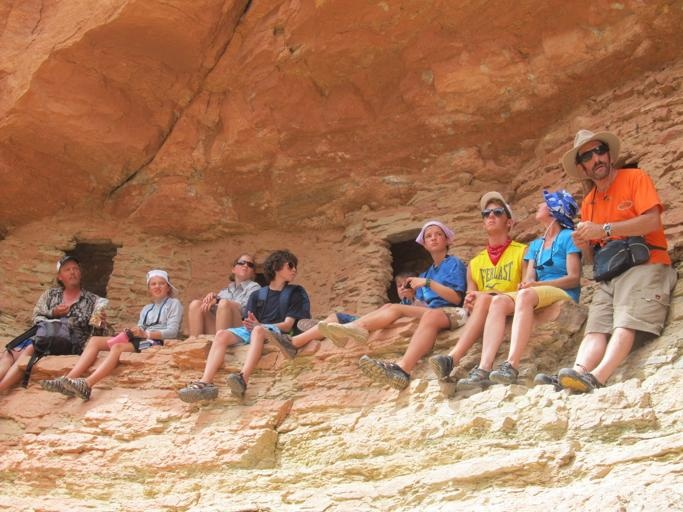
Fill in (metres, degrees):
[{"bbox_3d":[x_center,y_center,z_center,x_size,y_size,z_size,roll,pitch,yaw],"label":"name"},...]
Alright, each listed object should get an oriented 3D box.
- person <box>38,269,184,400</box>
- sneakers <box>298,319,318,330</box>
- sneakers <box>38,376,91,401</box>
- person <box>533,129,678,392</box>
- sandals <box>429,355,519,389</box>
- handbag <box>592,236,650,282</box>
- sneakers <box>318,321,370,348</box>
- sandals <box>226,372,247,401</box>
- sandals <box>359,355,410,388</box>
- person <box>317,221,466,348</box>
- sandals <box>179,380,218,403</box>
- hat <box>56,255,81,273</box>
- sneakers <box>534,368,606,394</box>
[{"bbox_3d":[-2.108,0.702,6.722,0.645,0.984,1.356,6,10,35],"label":"person"},{"bbox_3d":[-0.320,0.612,6.457,0.216,0.072,0.080,-9,-2,23],"label":"sneakers"},{"bbox_3d":[-2.407,1.164,6.242,0.271,0.102,0.320,-9,-31,40],"label":"sneakers"},{"bbox_3d":[1.948,-0.027,5.195,0.997,2.009,0.557,2,-16,-2],"label":"person"},{"bbox_3d":[0.926,0.804,5.033,0.583,0.227,0.203,-3,-15,17],"label":"sandals"},{"bbox_3d":[1.995,0.006,5.146,0.154,0.216,0.414,16,-23,-36],"label":"handbag"},{"bbox_3d":[0.005,0.620,5.756,0.304,0.099,0.218,30,-31,-23],"label":"sneakers"},{"bbox_3d":[-0.868,1.059,5.867,0.146,0.210,0.092,8,27,19],"label":"sandals"},{"bbox_3d":[0.326,0.879,5.435,0.373,0.157,0.125,29,-46,-2],"label":"sandals"},{"bbox_3d":[0.443,0.219,6.119,1.536,0.920,0.639,-6,1,-42],"label":"person"},{"bbox_3d":[-1.180,1.104,5.846,0.368,0.126,0.145,3,24,-14],"label":"sandals"},{"bbox_3d":[-2.952,0.056,7.683,0.292,0.302,0.127,1,2,-14],"label":"hat"},{"bbox_3d":[1.524,0.852,4.726,0.263,0.079,0.243,20,-21,-17],"label":"sneakers"}]
